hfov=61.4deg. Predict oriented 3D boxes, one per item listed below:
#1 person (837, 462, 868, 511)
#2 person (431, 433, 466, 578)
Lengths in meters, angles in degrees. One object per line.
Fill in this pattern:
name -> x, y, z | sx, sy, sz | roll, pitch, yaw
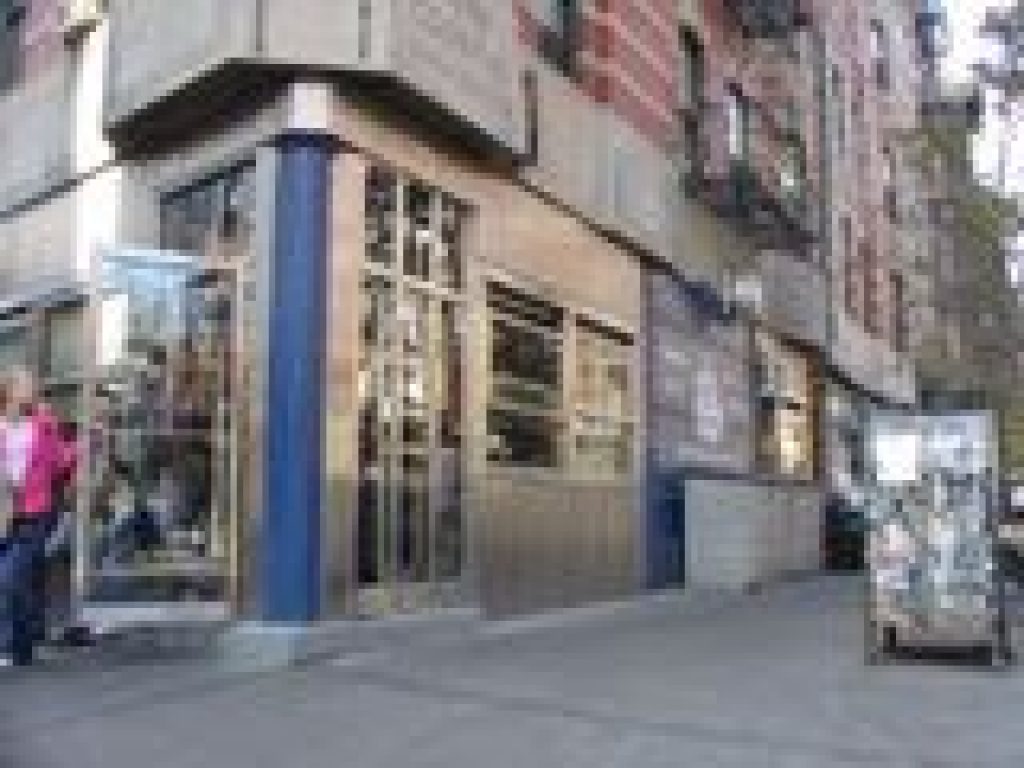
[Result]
person -> 6.063, 1.818, 15.673 | 0.379, 0.893, 1.226 | -1, -5, 18
person -> -0.644, 1.247, 9.224 | 0.113, 1.536, 0.491 | -2, -5, 28
